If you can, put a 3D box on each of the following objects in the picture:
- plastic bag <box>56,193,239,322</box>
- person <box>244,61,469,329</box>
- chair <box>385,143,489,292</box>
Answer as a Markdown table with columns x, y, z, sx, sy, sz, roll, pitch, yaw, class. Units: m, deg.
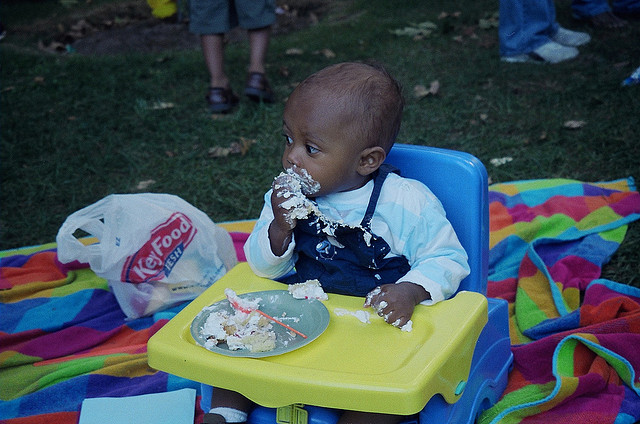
| x | y | z | sx | sy | sz | roll | pitch | yaw | class |
| --- | --- | --- | --- | --- | --- | --- | --- | --- | --- |
| -0.931 | 0.116 | 3.183 | 0.889 | 0.620 | 0.625 | -33 | 30 | -18 | plastic bag |
| 0.176 | -0.053 | 2.542 | 0.716 | 1.202 | 1.049 | -22 | 33 | -34 | person |
| 0.599 | -0.032 | 2.803 | 0.529 | 0.716 | 0.607 | 6 | 10 | 37 | chair |
